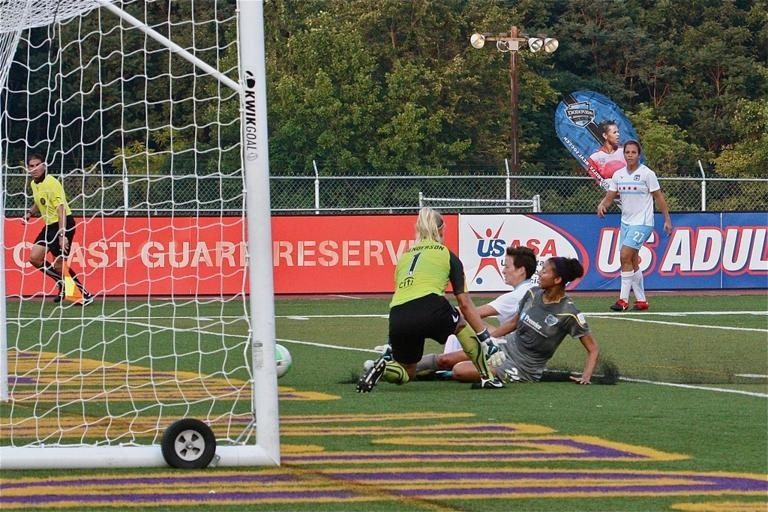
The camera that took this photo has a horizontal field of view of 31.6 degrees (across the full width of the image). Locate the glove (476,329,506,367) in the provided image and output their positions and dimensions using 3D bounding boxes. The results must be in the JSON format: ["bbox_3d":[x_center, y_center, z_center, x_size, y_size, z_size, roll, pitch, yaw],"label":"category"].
[{"bbox_3d":[1.503,1.310,19.606,0.385,0.575,0.253,-40,29,-17],"label":"glove"}]

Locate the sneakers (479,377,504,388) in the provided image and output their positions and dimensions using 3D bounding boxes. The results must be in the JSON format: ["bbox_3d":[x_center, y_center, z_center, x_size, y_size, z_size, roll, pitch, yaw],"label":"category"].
[{"bbox_3d":[1.522,1.834,19.568,0.292,0.118,0.142,-2,2,-5],"label":"sneakers"}]
